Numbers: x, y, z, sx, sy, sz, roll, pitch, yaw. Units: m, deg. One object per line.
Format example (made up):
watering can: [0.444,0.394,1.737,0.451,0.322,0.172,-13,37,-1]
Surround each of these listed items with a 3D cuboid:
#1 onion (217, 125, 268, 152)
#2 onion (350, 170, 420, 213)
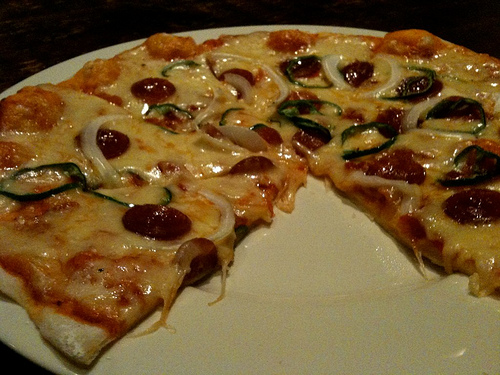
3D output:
onion: [-0.065,-0.357,3.921,0.267,0.246,0.056,23,95,26]
onion: [0.951,0.010,3.748,0.420,0.085,0.208,27,76,26]
